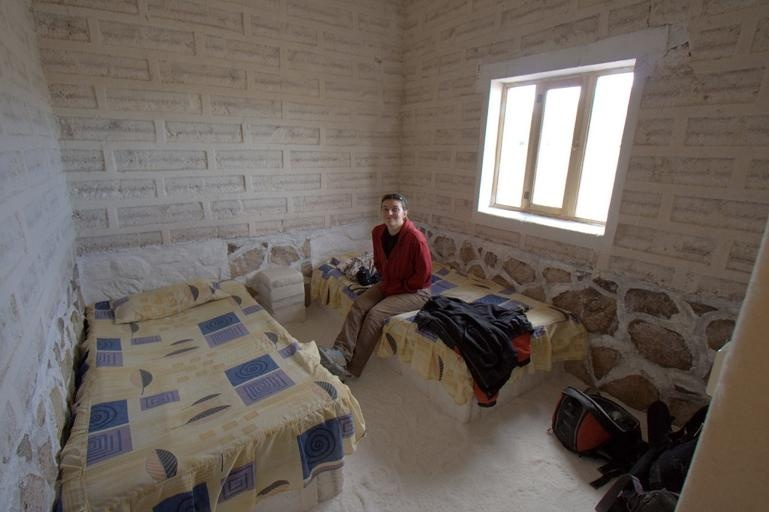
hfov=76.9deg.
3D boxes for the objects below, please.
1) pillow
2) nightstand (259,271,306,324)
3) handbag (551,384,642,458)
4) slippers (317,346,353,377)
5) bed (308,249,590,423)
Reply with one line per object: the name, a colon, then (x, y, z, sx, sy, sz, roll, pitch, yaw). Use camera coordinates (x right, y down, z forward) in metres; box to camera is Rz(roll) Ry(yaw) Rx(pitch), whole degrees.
pillow: (-1.906, 0.401, 4.352, 0.664, 0.135, 0.387, -11, 24, -36)
nightstand: (-1.021, 0.388, 5.117, 0.502, 0.503, 0.512, -2, 10, -7)
handbag: (1.650, 1.277, 3.782, 0.568, 0.510, 0.445, 3, -9, 41)
slippers: (-0.397, 0.901, 4.054, 0.129, 0.389, 0.160, -9, 51, 30)
bed: (0.399, 0.616, 4.539, 1.279, 0.479, 2.029, -12, 20, -39)
